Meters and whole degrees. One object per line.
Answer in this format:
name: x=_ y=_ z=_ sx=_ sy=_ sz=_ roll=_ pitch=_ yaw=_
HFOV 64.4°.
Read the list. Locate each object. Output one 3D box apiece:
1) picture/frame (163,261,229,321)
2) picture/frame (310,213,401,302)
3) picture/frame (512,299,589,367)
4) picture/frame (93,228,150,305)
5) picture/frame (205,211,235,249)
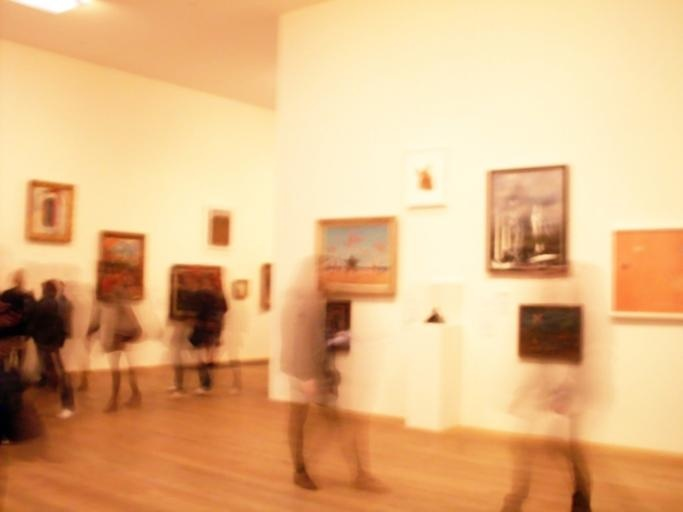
picture/frame: x=-2.204 y=0.511 z=8.173 sx=0.134 sy=0.784 sz=1.240 roll=0 pitch=-4 yaw=23
picture/frame: x=0.230 y=0.035 z=6.830 sx=1.125 sy=1.005 sz=0.088 roll=0 pitch=-3 yaw=30
picture/frame: x=2.312 y=0.840 z=6.042 sx=0.650 sy=0.626 sz=0.066 roll=-1 pitch=6 yaw=12
picture/frame: x=-3.896 y=0.208 z=9.579 sx=0.784 sy=1.375 sz=0.125 roll=5 pitch=-32 yaw=-26
picture/frame: x=-2.317 y=-0.568 z=10.088 sx=0.592 sy=0.657 sz=0.597 roll=-1 pitch=12 yaw=-20
